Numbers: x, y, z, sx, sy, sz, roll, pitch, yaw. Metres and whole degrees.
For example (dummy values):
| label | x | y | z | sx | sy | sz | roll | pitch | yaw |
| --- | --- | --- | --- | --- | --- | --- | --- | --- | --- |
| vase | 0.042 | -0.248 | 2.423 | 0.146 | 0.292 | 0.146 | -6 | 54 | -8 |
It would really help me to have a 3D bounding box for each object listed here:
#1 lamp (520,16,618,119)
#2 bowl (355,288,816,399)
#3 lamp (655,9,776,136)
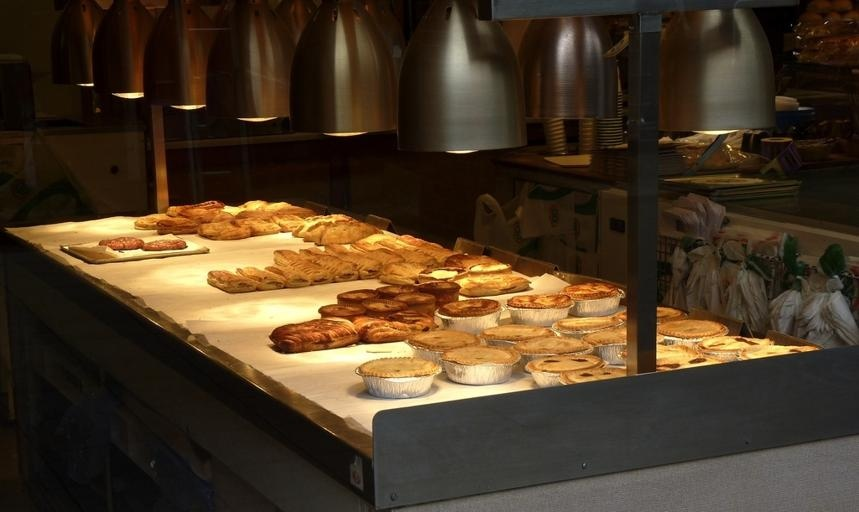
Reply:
| label | x | y | z | sx | sy | sz | roll | pitch | yaw |
| --- | --- | --- | --- | --- | --- | --- | --- | --- | --- |
| lamp | 0.342 | -0.474 | 1.754 | 0.265 | 0.253 | 0.272 | 9 | 16 | 42 |
| bowl | 0.340 | 0.239 | 1.720 | 1.028 | 0.087 | 0.417 | -5 | 11 | -11 |
| lamp | 0.602 | -0.390 | 1.472 | 0.222 | 0.247 | 0.113 | -1 | 14 | 17 |
